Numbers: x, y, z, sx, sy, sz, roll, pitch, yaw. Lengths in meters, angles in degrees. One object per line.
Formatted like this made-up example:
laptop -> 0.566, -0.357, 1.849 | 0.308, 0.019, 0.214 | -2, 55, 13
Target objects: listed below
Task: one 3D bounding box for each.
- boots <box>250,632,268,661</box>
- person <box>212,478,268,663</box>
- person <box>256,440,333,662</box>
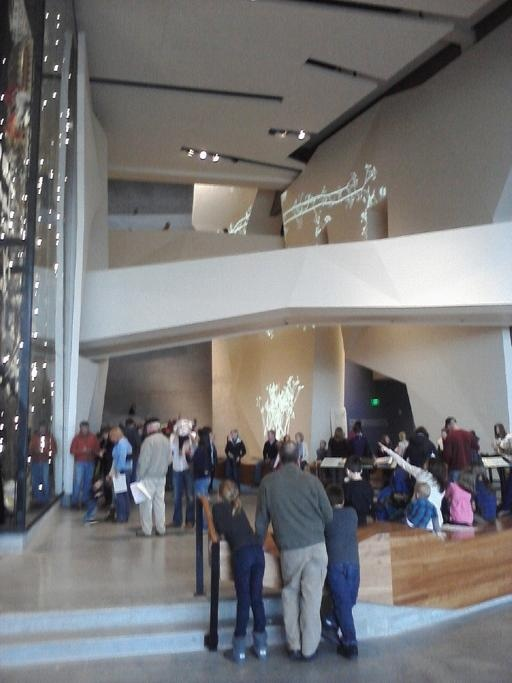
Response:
boots -> 0.017, 1.746, 2.650 | 0.080, 0.172, 0.185 | 0, -2, -1
person -> -0.098, 1.348, 2.762 | 0.333, 0.993, 0.474 | 1, -2, -29
person -> 0.236, 1.215, 2.857 | 0.360, 1.595, 0.365 | -3, 16, 6
